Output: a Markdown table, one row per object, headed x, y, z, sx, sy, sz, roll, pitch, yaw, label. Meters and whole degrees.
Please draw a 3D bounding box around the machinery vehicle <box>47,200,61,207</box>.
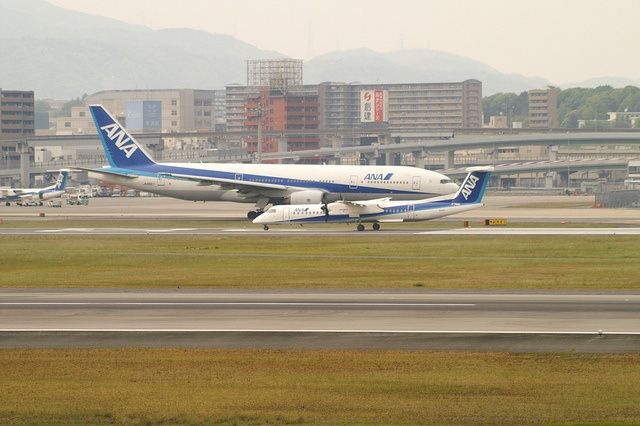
| x | y | z | sx | sy | sz | roll | pitch | yaw | label |
| --- | --- | --- | --- | --- | --- | --- | --- | --- | --- |
| -119.833 | -3.595 | 743.428 | 4.572 | 1.941 | 3.858 | 0 | 3 | -15 | machinery vehicle |
